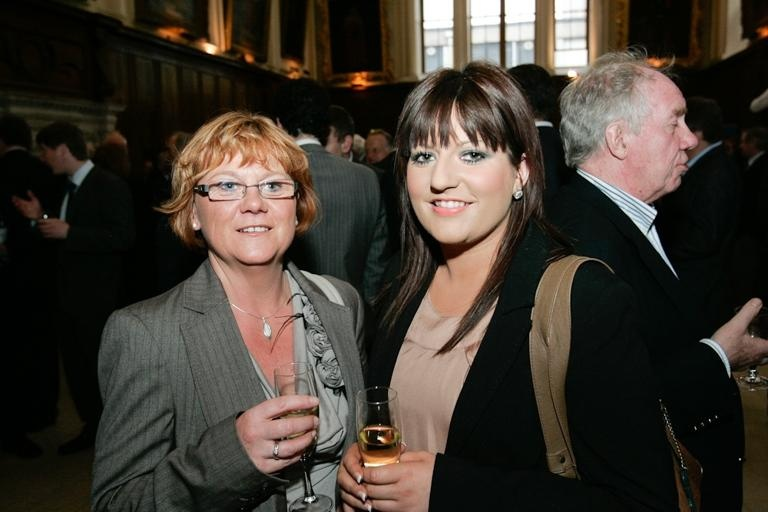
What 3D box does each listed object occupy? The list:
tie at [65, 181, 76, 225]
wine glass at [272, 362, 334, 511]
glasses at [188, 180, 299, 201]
[{"bbox_3d":[-2.481,-0.422,5.041,0.057,0.236,0.192,6,-2,-11],"label":"tie"},{"bbox_3d":[-0.347,0.811,2.810,0.212,0.702,0.217,-8,13,-22],"label":"wine glass"},{"bbox_3d":[-0.640,-0.293,2.934,0.454,0.100,0.072,-5,13,-11],"label":"glasses"}]
